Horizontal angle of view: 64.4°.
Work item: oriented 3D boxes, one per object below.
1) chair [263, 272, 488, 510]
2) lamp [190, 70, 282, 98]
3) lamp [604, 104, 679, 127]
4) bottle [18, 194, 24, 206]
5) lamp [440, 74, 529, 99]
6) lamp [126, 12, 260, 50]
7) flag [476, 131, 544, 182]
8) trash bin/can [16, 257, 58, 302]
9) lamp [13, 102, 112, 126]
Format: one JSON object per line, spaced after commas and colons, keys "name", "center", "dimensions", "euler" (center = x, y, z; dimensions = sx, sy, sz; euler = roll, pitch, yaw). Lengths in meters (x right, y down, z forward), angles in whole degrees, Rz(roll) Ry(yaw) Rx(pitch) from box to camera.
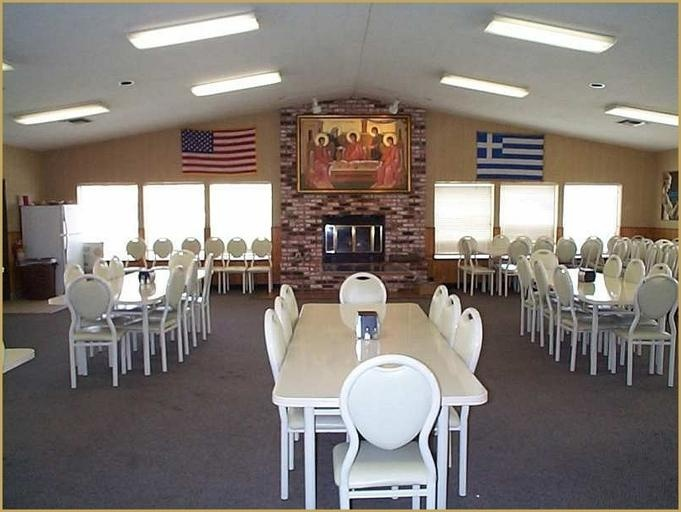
{"name": "chair", "center": [0.281, 1.057, 4.665], "dimensions": [1.718, 1.532, 2.247], "euler": [0, 3, 0]}
{"name": "lamp", "center": [-1.689, -2.588, 8.562], "dimensions": [1.345, 0.098, 0.276], "euler": [-13, -23, 23]}
{"name": "lamp", "center": [5.030, -2.288, 8.998], "dimensions": [1.289, 0.233, 0.899], "euler": [1, 2, 5]}
{"name": "bottle", "center": [-6.000, -1.040, 10.121], "dimensions": [0.101, 0.218, 0.201], "euler": [0, 3, -16]}
{"name": "lamp", "center": [2.339, -2.571, 8.676], "dimensions": [1.423, 0.119, 0.253], "euler": [11, -3, -6]}
{"name": "lamp", "center": [-1.767, -2.653, 6.384], "dimensions": [1.527, 0.288, 0.428], "euler": [0, 3, 1]}
{"name": "flag", "center": [3.472, -2.089, 11.197], "dimensions": [0.967, 0.773, 0.083], "euler": [0, 2, -4]}
{"name": "trash bin/can", "center": [-5.414, 0.431, 10.008], "dimensions": [0.732, 0.926, 0.698], "euler": [0, -1, -13]}
{"name": "lamp", "center": [-4.459, -2.246, 8.689], "dimensions": [1.391, 0.290, 0.932], "euler": [0, 2, -5]}
